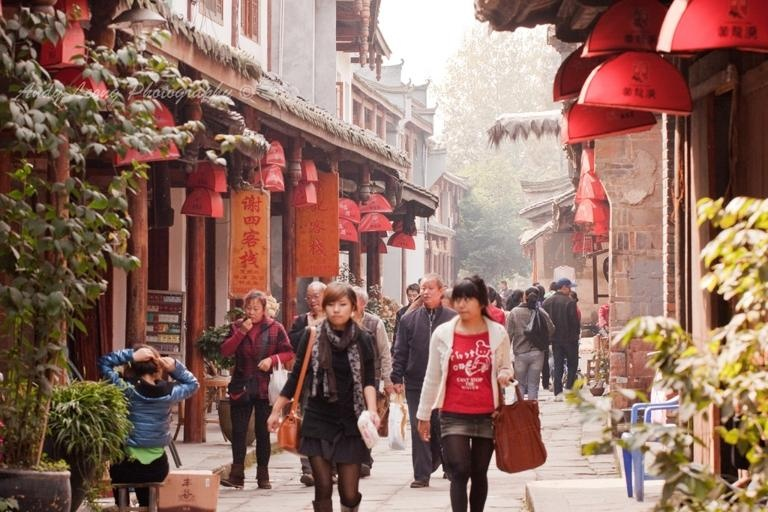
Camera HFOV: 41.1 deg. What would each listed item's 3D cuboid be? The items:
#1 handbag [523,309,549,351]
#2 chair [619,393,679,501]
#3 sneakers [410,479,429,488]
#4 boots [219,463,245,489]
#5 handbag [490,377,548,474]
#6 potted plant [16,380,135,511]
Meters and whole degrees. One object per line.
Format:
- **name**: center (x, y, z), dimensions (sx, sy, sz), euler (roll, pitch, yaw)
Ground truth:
- **handbag**: center (2.282, 1.116, 15.447), dimensions (0.200, 0.445, 0.456), euler (-7, -37, 23)
- **chair**: center (2.504, 1.776, 9.611), dimensions (0.535, 0.970, 2.386), euler (-5, -13, 14)
- **sneakers**: center (0.386, 2.450, 11.107), dimensions (0.198, 0.084, 0.071), euler (9, -10, -31)
- **boots**: center (-1.685, 2.370, 11.145), dimensions (0.333, 0.252, 0.163), euler (10, -11, -3)
- **handbag**: center (1.096, 1.383, 8.339), dimensions (0.406, 0.703, 0.307), euler (-3, -12, 4)
- **potted plant**: center (-2.457, 1.556, 8.510), dimensions (0.890, 0.919, 0.890), euler (2, -12, -4)
